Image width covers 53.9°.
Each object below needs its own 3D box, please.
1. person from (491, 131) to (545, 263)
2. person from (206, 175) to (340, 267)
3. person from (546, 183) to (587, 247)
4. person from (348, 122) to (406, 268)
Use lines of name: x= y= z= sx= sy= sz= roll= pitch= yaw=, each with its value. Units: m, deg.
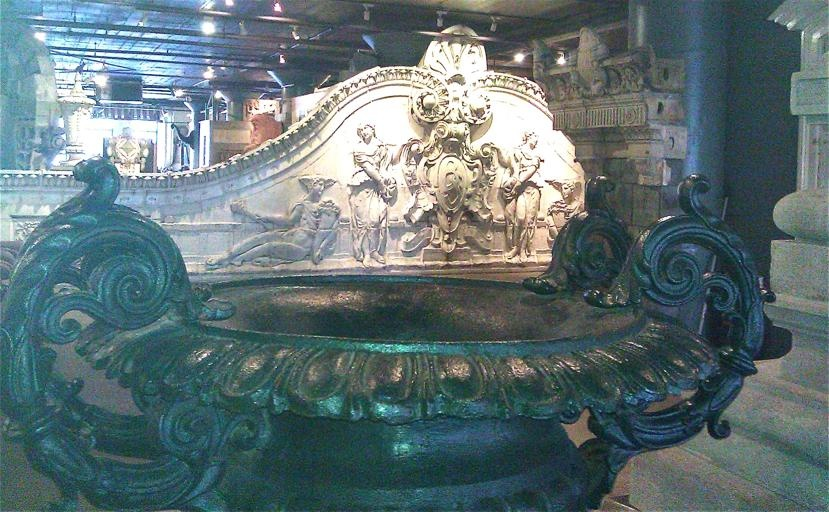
person: x=1.323 y=-0.721 z=10.053 sx=0.532 sy=1.587 sz=0.125 roll=-7 pitch=11 yaw=-20
person: x=-1.616 y=-0.313 z=9.133 sx=1.630 sy=0.959 sz=0.507 roll=-10 pitch=9 yaw=1
person: x=1.904 y=-0.546 z=10.234 sx=0.524 sy=0.819 sz=0.222 roll=-5 pitch=10 yaw=-14
person: x=-0.494 y=-0.710 z=9.424 sx=0.597 sy=1.596 sz=0.235 roll=-12 pitch=14 yaw=-43
